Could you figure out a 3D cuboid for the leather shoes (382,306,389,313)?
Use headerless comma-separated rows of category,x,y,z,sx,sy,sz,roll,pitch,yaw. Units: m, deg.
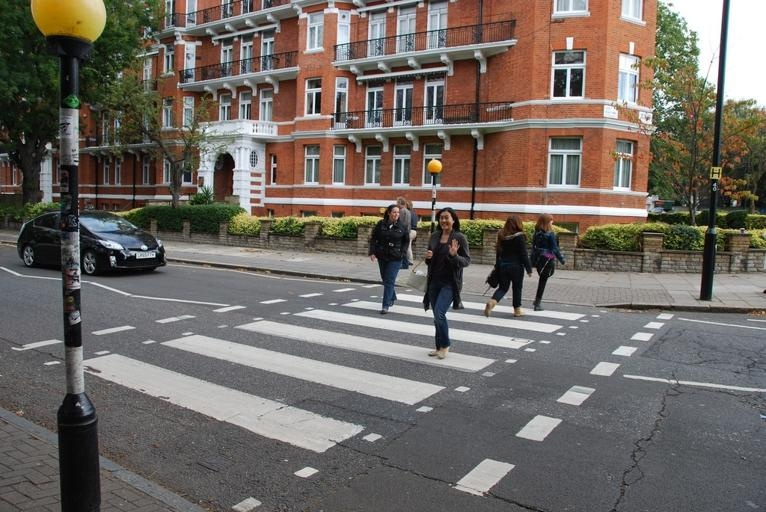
leather shoes,0.053,1.202,14.990,0.158,0.125,0.280,1,0,3

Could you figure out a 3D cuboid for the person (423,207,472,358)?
person,1.133,0.506,12.048,0.786,2.548,0.977,2,14,4

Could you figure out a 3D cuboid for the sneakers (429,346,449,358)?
sneakers,1.021,1.729,12.027,0.332,0.232,0.158,3,1,6

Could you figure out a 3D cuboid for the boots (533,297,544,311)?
boots,3.671,1.116,15.753,0.214,0.355,0.380,4,15,13

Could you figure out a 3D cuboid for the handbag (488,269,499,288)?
handbag,2.449,0.505,14.903,0.100,0.373,0.268,22,21,33

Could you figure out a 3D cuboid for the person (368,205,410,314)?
person,0.078,0.112,15.230,0.713,2.425,1.061,12,18,37
